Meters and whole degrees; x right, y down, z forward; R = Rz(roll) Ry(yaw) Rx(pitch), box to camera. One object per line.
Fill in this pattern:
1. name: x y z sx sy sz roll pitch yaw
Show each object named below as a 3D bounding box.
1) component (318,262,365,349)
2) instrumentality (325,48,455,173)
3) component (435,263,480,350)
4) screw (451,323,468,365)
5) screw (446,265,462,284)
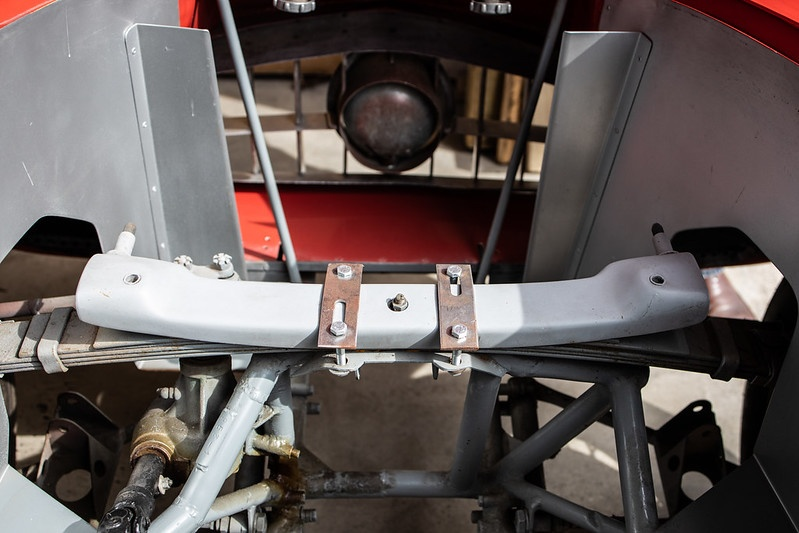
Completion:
1. component: -0.203 0.151 2.511 0.143 0.277 0.210 -1 13 -1
2. instrumentality: -0.023 -0.772 3.755 0.571 0.590 0.384 1 13 5
3. component: 0.193 0.150 2.520 0.142 0.280 0.225 0 13 3
4. screw: 0.197 0.263 2.466 0.053 0.142 0.040 -9 16 -33
5. screw: 0.186 0.024 2.538 0.052 0.058 0.018 0 -24 0
